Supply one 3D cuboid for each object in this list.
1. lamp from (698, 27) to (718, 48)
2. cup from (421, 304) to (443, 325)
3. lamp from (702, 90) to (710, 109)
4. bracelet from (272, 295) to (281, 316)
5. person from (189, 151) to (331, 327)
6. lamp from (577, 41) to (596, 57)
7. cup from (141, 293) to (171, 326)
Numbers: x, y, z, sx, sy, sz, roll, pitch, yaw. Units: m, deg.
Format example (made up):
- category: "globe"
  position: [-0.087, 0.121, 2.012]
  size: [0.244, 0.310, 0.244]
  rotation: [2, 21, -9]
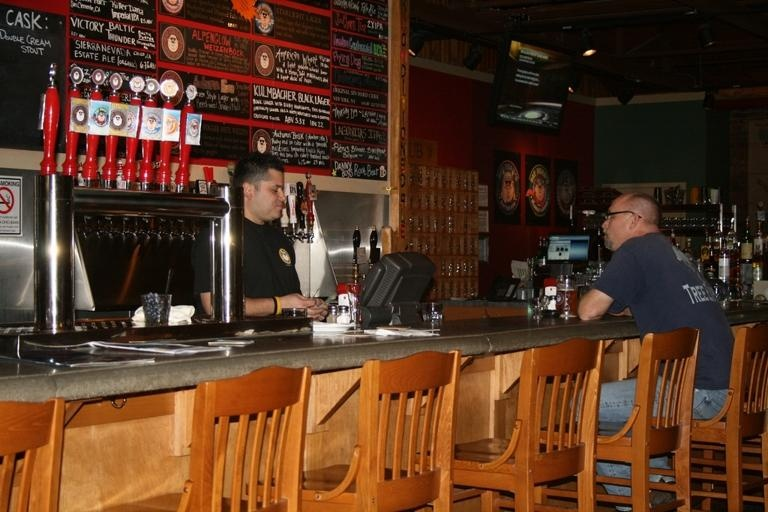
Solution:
- category: "lamp"
  position: [3.893, -2.670, 8.206]
  size: [0.124, 0.199, 0.276]
  rotation: [-1, -3, 25]
- category: "cup"
  position: [0.233, 0.291, 3.435]
  size: [0.108, 0.115, 0.105]
  rotation: [0, 2, 0]
- category: "lamp"
  position: [4.837, -2.337, 10.119]
  size: [0.141, 0.258, 0.250]
  rotation: [-1, -3, 23]
- category: "bracelet"
  position: [-0.528, 0.240, 3.337]
  size: [0.036, 0.080, 0.069]
  rotation: [-1, -44, -13]
- category: "person"
  position: [-0.690, -0.134, 3.655]
  size: [0.650, 0.935, 0.832]
  rotation: [0, -2, -16]
- category: "lamp"
  position: [2.359, -2.413, 7.874]
  size: [0.143, 0.125, 0.243]
  rotation: [-1, -3, 18]
- category: "cup"
  position: [-0.916, 0.214, 2.733]
  size: [0.129, 0.124, 0.121]
  rotation: [1, 0, 0]
